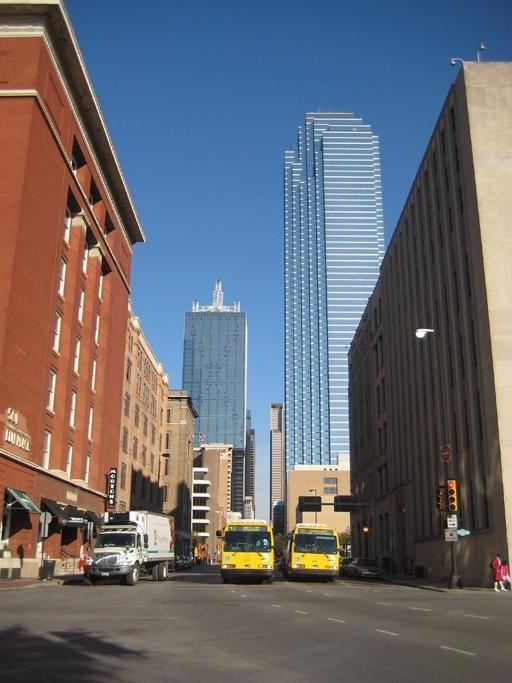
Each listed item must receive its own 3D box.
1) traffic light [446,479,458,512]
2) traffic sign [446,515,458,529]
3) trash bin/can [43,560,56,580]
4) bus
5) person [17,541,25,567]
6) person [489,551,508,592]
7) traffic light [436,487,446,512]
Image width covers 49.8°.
[{"bbox_3d":[9.948,7.900,28.249,0.556,1.624,1.260,-5,-19,18],"label":"traffic light"},{"bbox_3d":[9.814,9.128,27.903,0.472,0.754,0.710,-8,-20,23],"label":"traffic sign"},{"bbox_3d":[-10.775,11.897,28.677,0.306,0.941,0.694,-5,-19,18],"label":"trash bin/can"},{"bbox_3d":[0.926,11.863,31.221,7.208,3.337,4.060,14,-24,-33],"label":"bus"},{"bbox_3d":[-12.907,11.735,30.185,0.420,1.173,1.002,7,-20,-23],"label":"person"},{"bbox_3d":[11.981,11.466,27.372,0.726,1.702,2.802,-7,-21,21],"label":"person"},{"bbox_3d":[9.675,8.228,28.950,0.416,1.182,0.759,-4,-18,12],"label":"traffic light"}]
